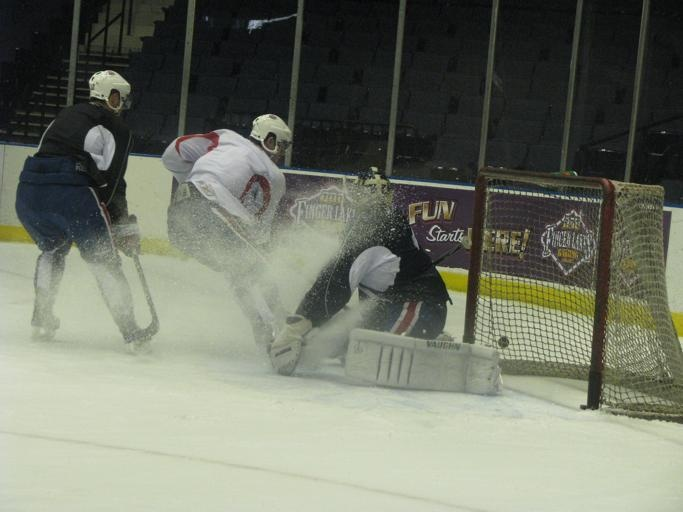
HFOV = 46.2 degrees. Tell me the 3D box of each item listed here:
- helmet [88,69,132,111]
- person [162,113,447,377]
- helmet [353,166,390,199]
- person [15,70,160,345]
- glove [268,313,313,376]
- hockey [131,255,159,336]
[{"bbox_3d":[-1.769,-1.286,6.204,0.318,0.308,0.281,-8,21,-26],"label":"helmet"},{"bbox_3d":[-0.351,-0.172,5.883,2.162,1.615,1.174,16,16,41],"label":"person"},{"bbox_3d":[0.229,-0.511,5.600,0.239,0.185,0.106,6,5,33],"label":"helmet"},{"bbox_3d":[-1.824,-0.377,5.767,0.980,1.877,1.148,2,12,-17],"label":"person"},{"bbox_3d":[-0.329,0.591,5.349,0.241,0.389,0.151,18,-13,17],"label":"glove"},{"bbox_3d":[-1.663,0.352,6.753,0.165,0.552,0.126,-19,-15,2],"label":"hockey"}]
